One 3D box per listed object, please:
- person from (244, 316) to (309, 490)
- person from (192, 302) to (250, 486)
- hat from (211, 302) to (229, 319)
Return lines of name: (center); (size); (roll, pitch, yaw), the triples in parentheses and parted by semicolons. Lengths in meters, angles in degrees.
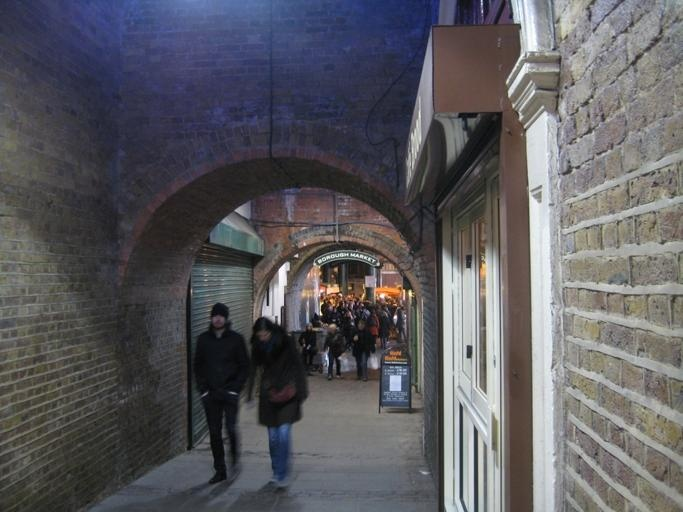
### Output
person: (-0.723, 1.646, 5.745); (0.665, 1.894, 0.582); (1, -8, -12)
person: (-1.397, 1.590, 5.872); (0.549, 2.079, 0.658); (7, -11, -42)
hat: (-1.410, 0.630, 5.860); (0.173, 0.190, 0.272); (2, -10, -14)
